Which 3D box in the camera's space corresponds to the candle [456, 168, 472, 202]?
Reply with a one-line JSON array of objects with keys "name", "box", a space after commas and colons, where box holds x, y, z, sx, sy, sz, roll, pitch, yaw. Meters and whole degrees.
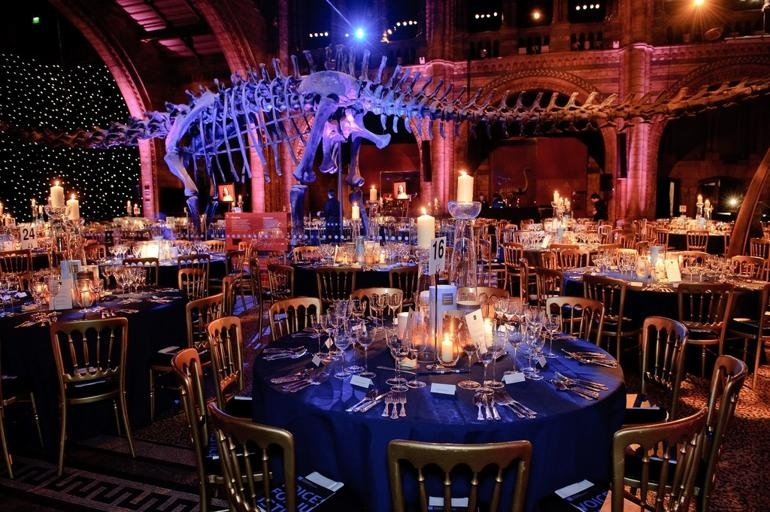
[{"name": "candle", "box": [0.732, -0.625, 5.350, 0.140, 0.289, 0.237, -1, 7, 10]}]

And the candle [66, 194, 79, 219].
[{"name": "candle", "box": [-4.009, -0.629, 7.537, 0.121, 0.344, 0.488, -5, 7, -24]}]

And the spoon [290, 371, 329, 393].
[{"name": "spoon", "box": [-0.635, 1.091, 5.083, 0.102, 0.059, 0.353, 37, 25, 22]}]

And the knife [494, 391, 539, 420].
[{"name": "knife", "box": [1.072, 1.234, 4.809, 0.131, 0.055, 0.381, -10, 14, -12]}]

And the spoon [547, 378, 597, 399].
[{"name": "spoon", "box": [1.626, 1.105, 4.986, 0.144, 0.053, 0.299, -13, 14, -25]}]
